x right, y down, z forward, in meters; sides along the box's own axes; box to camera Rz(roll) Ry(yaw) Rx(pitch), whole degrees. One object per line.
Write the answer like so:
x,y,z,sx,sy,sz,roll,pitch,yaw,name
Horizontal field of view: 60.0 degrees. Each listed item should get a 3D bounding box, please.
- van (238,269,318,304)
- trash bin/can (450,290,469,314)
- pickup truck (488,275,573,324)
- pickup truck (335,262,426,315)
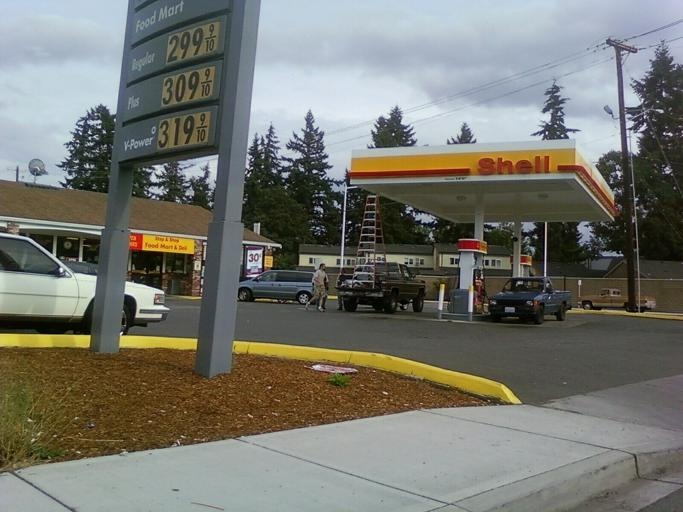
-3.811,1.856,34.118,4.020,1.955,3.683,2,1,34,van
4.764,1.792,23.388,0.931,0.895,0.666,0,-4,8,trash bin/can
7.692,1.706,23.855,2.243,1.502,4.367,0,-1,35,pickup truck
1.980,1.480,27.677,2.462,1.947,4.952,-2,-6,29,pickup truck
